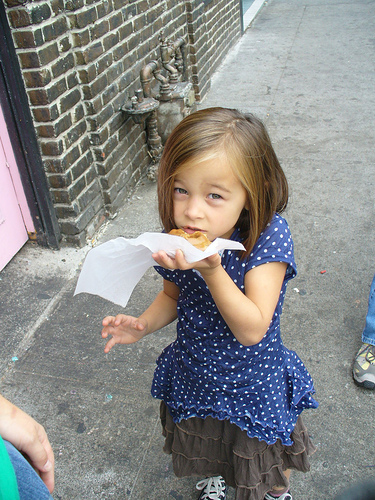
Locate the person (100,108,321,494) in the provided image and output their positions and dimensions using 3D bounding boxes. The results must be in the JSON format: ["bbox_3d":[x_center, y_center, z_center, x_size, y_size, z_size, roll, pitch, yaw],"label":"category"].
[{"bbox_3d":[0.093,0.269,1.304,0.650,1.356,0.750,-1,21,6],"label":"person"}]

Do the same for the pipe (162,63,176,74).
[{"bbox_3d":[-0.184,-1.837,3.976,0.133,0.118,0.109,-7,34,-2],"label":"pipe"}]
